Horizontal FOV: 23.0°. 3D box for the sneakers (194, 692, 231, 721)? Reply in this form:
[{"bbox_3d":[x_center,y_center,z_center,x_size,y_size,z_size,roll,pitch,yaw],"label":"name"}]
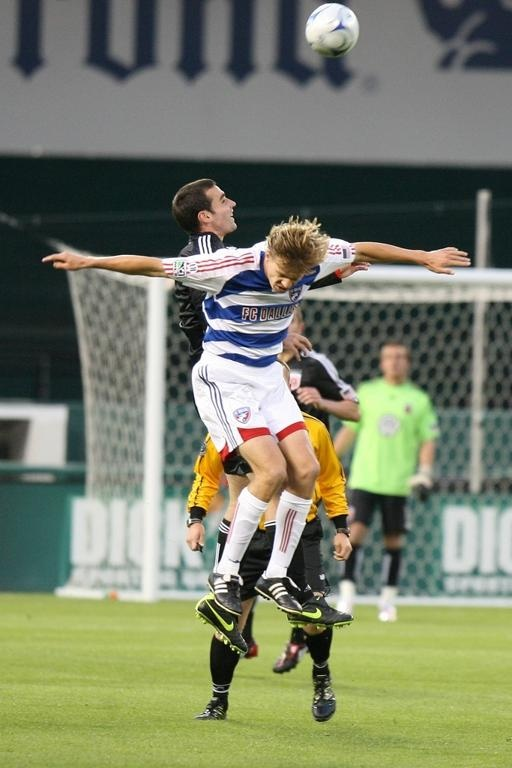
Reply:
[{"bbox_3d":[-0.169,1.257,4.918,0.109,0.094,0.203,2,-6,2],"label":"sneakers"}]

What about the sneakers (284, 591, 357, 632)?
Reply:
[{"bbox_3d":[0.243,0.901,4.900,0.306,0.150,0.095,-1,-6,-3],"label":"sneakers"}]

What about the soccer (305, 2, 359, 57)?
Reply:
[{"bbox_3d":[0.366,-1.629,5.843,0.277,0.234,0.251,4,7,11],"label":"soccer"}]

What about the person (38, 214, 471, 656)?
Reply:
[{"bbox_3d":[-0.003,0.206,4.851,1.250,1.642,0.695,5,-7,-16],"label":"person"}]

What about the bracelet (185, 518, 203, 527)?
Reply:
[{"bbox_3d":[-0.244,0.564,5.127,0.066,0.037,0.064,-2,-13,-20],"label":"bracelet"}]

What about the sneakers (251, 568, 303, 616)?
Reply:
[{"bbox_3d":[0.081,0.826,4.944,0.250,0.115,0.094,37,15,29],"label":"sneakers"}]

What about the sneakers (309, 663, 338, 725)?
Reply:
[{"bbox_3d":[0.268,1.234,4.995,0.085,0.212,0.127,-3,-37,11],"label":"sneakers"}]

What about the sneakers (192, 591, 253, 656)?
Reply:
[{"bbox_3d":[-0.135,0.923,4.825,0.189,0.230,0.185,3,-7,-2],"label":"sneakers"}]

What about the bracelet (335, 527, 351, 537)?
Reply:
[{"bbox_3d":[0.350,0.612,5.170,0.050,0.028,0.051,-8,-20,36],"label":"bracelet"}]
